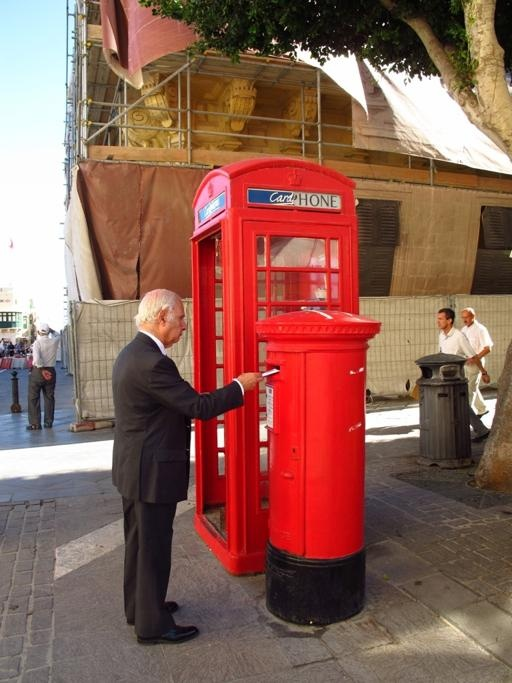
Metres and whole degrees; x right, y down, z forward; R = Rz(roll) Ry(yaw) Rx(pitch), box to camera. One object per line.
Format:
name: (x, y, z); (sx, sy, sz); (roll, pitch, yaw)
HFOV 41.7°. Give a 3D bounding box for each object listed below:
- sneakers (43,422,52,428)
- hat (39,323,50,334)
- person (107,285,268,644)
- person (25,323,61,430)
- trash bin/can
sneakers: (-3.297, 1.326, 10.621); (0.075, 0.080, 0.115); (1, -7, -7)
hat: (-3.280, -0.183, 10.375); (0.172, 0.170, 0.322); (-4, 3, -17)
person: (-0.424, 0.633, 3.515); (0.649, 1.807, 0.405); (-4, 3, -11)
person: (-3.372, 0.540, 10.607); (0.551, 1.626, 0.863); (-4, 3, -13)
trash bin/can: (1.888, 0.697, 6.769); (0.504, 1.140, 0.327); (-2, 3, 11)
